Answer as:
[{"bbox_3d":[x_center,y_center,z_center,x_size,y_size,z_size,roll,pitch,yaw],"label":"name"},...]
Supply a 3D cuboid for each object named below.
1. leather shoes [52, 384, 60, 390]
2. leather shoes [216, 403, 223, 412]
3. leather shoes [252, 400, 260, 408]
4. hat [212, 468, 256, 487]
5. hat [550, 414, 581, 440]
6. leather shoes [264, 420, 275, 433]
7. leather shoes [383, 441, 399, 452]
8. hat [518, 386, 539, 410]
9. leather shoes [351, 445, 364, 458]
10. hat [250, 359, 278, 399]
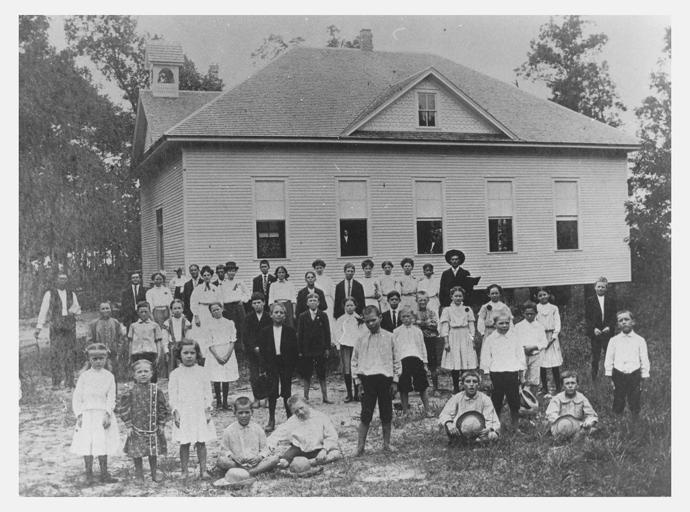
[{"bbox_3d":[-6.584,3.009,19.950,0.120,0.090,0.114,1,-4,-32],"label":"leather shoes"},{"bbox_3d":[-2.693,3.257,18.724,0.112,0.125,0.212,7,-7,-16],"label":"leather shoes"},{"bbox_3d":[-1.920,3.200,18.882,0.166,0.177,0.168,0,-7,-2],"label":"leather shoes"},{"bbox_3d":[-2.075,4.195,16.403,0.470,0.157,0.420,-2,-2,16],"label":"hat"},{"bbox_3d":[4.468,3.445,17.559,0.613,0.479,0.143,-1,-7,-12],"label":"hat"},{"bbox_3d":[-1.498,3.436,17.580,0.199,0.204,0.384,-2,-8,-7],"label":"leather shoes"},{"bbox_3d":[0.925,3.766,17.217,0.343,0.275,0.128,-4,2,13],"label":"leather shoes"},{"bbox_3d":[3.878,3.026,18.410,0.456,0.472,0.112,35,-54,-11],"label":"hat"},{"bbox_3d":[0.255,3.831,17.077,0.131,0.293,0.173,13,13,-37],"label":"leather shoes"},{"bbox_3d":[-1.657,2.539,18.087,0.355,0.811,1.282,0,-8,-16],"label":"hat"}]
